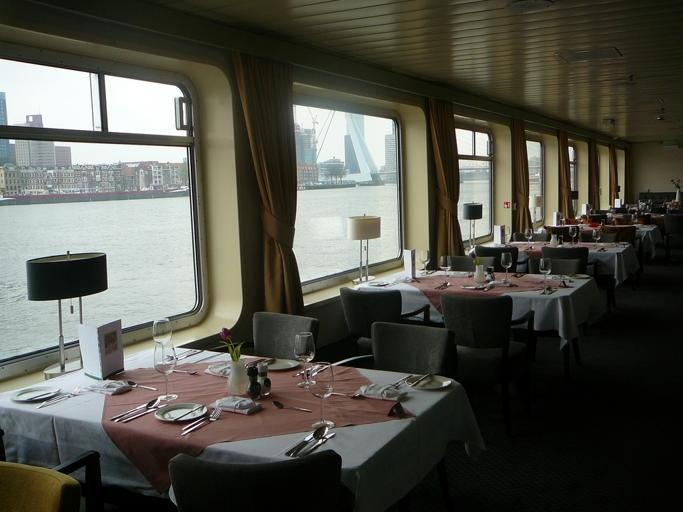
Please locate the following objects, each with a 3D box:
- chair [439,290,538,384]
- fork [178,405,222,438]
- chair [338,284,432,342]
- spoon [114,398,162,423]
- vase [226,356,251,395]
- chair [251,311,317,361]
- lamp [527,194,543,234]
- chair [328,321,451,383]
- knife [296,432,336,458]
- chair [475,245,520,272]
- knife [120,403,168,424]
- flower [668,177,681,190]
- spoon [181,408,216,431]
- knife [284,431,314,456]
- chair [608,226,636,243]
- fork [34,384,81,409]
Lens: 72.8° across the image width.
[{"bbox_3d":[1.311,0.794,4.221,0.757,0.912,0.744,-2,3,33],"label":"chair"},{"bbox_3d":[-0.695,0.826,2.359,0.049,0.045,0.313,-2,7,25],"label":"fork"},{"bbox_3d":[0.475,0.489,4.669,0.570,0.676,0.651,3,9,30],"label":"chair"},{"bbox_3d":[-1.075,0.817,2.497,0.061,0.031,0.227,8,10,21],"label":"spoon"},{"bbox_3d":[-0.597,0.705,2.716,0.150,0.187,0.140,-6,-2,-10],"label":"vase"},{"bbox_3d":[-0.500,0.627,3.701,0.390,0.497,0.448,-2,-5,15],"label":"chair"},{"bbox_3d":[4.573,-1.073,10.990,0.330,0.669,0.325,2,6,41],"label":"lamp"},{"bbox_3d":[0.383,0.571,3.204,0.490,0.603,0.552,1,2,29],"label":"chair"},{"bbox_3d":[-0.108,0.850,2.098,0.046,0.025,0.234,10,9,27],"label":"knife"},{"bbox_3d":[2.362,-0.041,7.059,0.524,0.631,0.565,5,16,29],"label":"chair"},{"bbox_3d":[-1.042,0.833,2.449,0.035,0.016,0.337,11,7,26],"label":"knife"},{"bbox_3d":[15.042,-3.228,20.853,0.429,0.504,0.612,4,12,29],"label":"flower"},{"bbox_3d":[-0.696,0.823,2.374,0.046,0.043,0.302,0,8,21],"label":"spoon"},{"bbox_3d":[-0.188,0.845,2.088,0.037,0.024,0.140,6,9,18],"label":"knife"},{"bbox_3d":[5.422,-0.403,8.952,0.338,0.447,0.410,7,14,41],"label":"chair"},{"bbox_3d":[-1.624,0.816,2.715,0.053,0.048,0.346,6,4,13],"label":"fork"}]
